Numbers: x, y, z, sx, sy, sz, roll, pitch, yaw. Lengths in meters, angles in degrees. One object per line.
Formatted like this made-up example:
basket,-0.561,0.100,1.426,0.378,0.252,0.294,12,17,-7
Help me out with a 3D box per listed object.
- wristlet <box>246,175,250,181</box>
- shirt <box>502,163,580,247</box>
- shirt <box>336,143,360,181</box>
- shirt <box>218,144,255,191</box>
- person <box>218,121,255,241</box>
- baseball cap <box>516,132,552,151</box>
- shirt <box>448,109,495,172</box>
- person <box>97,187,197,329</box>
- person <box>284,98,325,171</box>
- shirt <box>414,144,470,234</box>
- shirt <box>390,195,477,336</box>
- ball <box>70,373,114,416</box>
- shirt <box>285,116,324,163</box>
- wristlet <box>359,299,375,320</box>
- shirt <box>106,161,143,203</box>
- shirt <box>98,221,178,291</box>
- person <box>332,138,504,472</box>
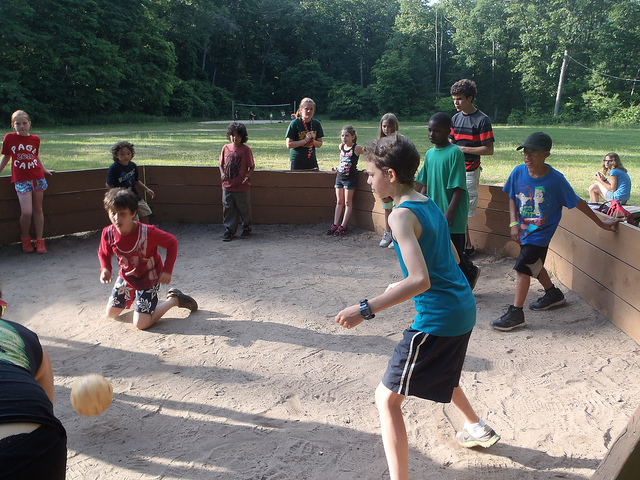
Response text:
wristlet,-1.189,-1.042,9.211,0.060,0.057,0.059,0,22,0
shirt,2.381,-0.397,6.102,0.449,0.889,0.905,-19,24,-38
shirt,0.454,-1.286,9.160,0.338,0.625,0.427,2,15,3
shirt,-1.374,-1.205,9.200,0.516,0.759,0.284,-2,15,-11
person,-1.381,-0.970,9.198,0.551,1.880,0.486,-2,15,-11
baseball cap,2.267,-1.013,5.862,0.302,0.159,0.213,6,10,-18
shirt,2.037,-1.345,7.578,0.329,0.836,0.806,-18,21,-27
person,-1.915,0.191,6.057,0.895,1.517,0.447,-5,16,-19
person,-0.272,-1.810,9.690,0.621,1.275,0.775,0,15,-2
shirt,1.381,-0.579,6.465,0.517,1.074,0.535,8,17,-7
shirt,0.795,0.172,3.893,0.418,0.912,0.556,-3,7,38
ball,-1.691,1.155,4.149,0.308,0.339,0.281,4,6,0
shirt,-0.266,-1.761,9.783,0.796,0.855,0.355,-8,19,-33
wristlet,0.296,0.451,3.588,0.085,0.123,0.125,-3,-6,5
shirt,-3.040,-0.929,8.649,0.481,0.615,0.559,-1,15,-8
shirt,-2.007,0.202,6.215,1.056,0.798,0.494,5,18,19
person,0.633,0.419,3.778,0.898,2.154,0.786,0,15,-1
